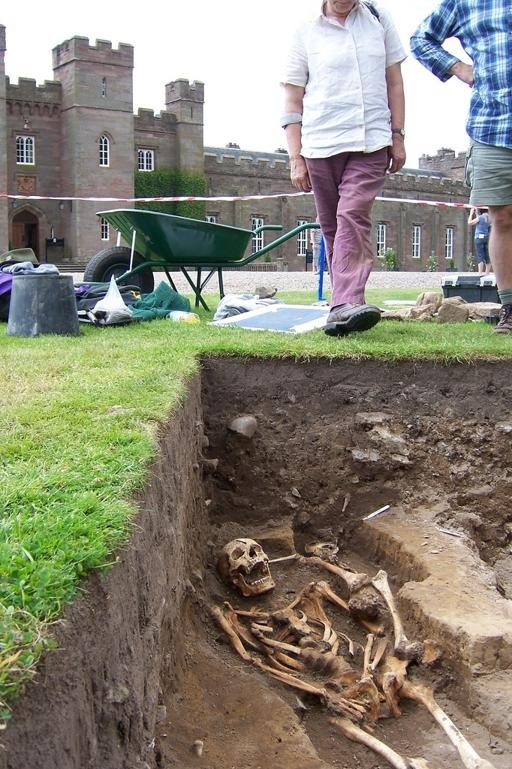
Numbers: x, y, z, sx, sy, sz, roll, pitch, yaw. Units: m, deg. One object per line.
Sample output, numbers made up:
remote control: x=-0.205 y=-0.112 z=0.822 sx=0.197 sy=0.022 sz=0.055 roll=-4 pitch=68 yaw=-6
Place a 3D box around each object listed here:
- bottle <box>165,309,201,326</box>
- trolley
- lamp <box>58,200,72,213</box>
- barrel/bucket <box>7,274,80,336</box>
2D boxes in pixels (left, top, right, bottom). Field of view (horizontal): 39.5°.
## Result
bottle: x=-0.640 y=-0.585 z=6.243 sx=0.150 sy=0.083 sz=0.275 roll=-2 pitch=9 yaw=-39
trolley: x=-0.476 y=-1.418 z=7.700 sx=2.446 sy=0.949 sz=1.226 roll=3 pitch=3 yaw=-32
lamp: x=-8.843 y=-8.274 z=33.133 sx=0.905 sy=0.609 sz=0.639 roll=2 pitch=5 yaw=-8
barrel/bucket: x=-1.460 y=-0.538 z=4.959 sx=0.474 sy=0.406 sz=0.457 roll=0 pitch=8 yaw=0
